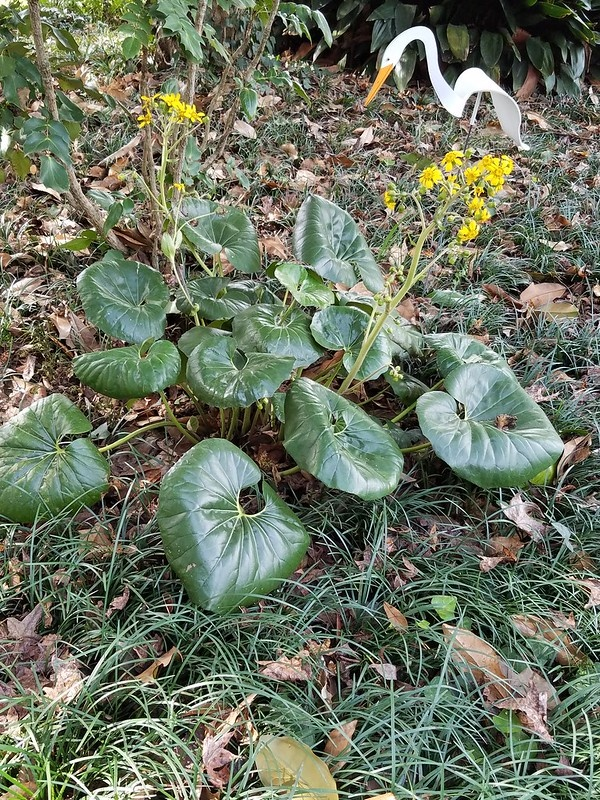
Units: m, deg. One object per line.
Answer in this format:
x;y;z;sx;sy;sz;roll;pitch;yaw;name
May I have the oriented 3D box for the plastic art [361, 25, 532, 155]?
0.516;-1.056;2.372;0.507;0.298;0.644;16;36;-2;plastic art
